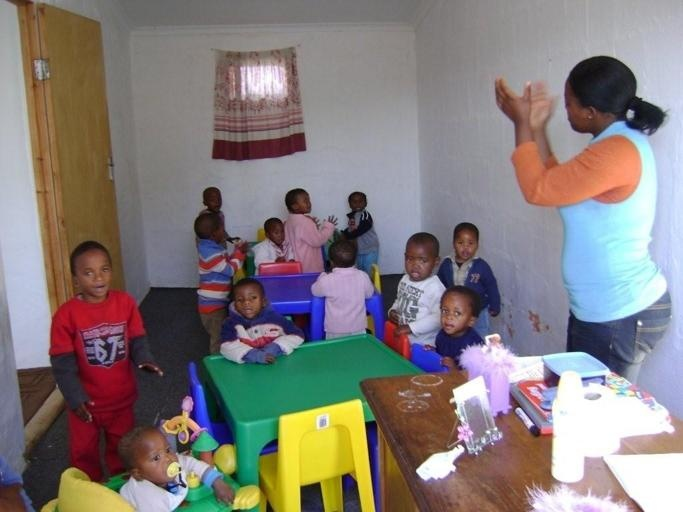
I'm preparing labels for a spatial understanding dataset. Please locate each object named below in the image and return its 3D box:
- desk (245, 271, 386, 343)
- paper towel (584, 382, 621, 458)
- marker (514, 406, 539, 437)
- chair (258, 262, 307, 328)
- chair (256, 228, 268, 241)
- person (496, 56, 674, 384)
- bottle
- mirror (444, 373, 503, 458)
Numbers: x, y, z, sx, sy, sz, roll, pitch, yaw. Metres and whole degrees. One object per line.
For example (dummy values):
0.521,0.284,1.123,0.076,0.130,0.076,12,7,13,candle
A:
-0.142,0.255,3.156,0.482,0.392,0.501,-1,5,-17,desk
0.606,0.392,1.253,0.079,0.154,0.195,3,10,35,paper towel
0.472,0.423,1.362,0.016,0.018,0.072,-15,17,-2,marker
-0.389,0.256,3.599,0.361,0.527,0.388,-1,1,-6,chair
-0.698,-0.191,4.826,0.106,0.154,0.119,-1,5,-20,chair
0.763,-0.096,1.715,0.507,1.031,0.290,2,10,34,person
0.519,0.383,1.200,0.103,0.235,0.061,-4,8,-10,bottle
0.335,0.407,1.337,0.124,0.148,0.082,-14,-4,-37,mirror
